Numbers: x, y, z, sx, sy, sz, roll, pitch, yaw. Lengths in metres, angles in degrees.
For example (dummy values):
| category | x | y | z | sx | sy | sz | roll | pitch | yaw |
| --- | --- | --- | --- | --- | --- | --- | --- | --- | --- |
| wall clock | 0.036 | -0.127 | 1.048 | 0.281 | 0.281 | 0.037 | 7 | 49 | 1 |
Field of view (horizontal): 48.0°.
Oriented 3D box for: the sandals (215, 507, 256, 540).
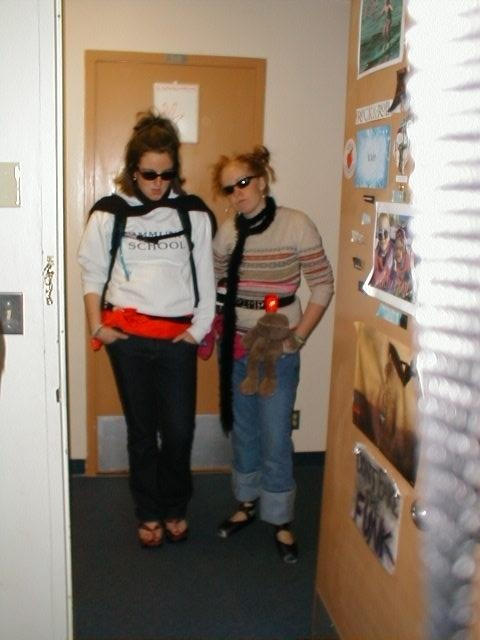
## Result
| category | x | y | z | sx | sy | sz | roll | pitch | yaw |
| --- | --- | --- | --- | --- | --- | --- | --- | --- | --- |
| sandals | -0.015 | 0.895 | 2.407 | 0.068 | 0.092 | 0.221 | 0 | 4 | 39 |

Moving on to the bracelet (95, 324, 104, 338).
| category | x | y | z | sx | sy | sz | roll | pitch | yaw |
| --- | --- | --- | --- | --- | --- | --- | --- | --- | --- |
| bracelet | -0.545 | 0.044 | 2.067 | 0.010 | 0.044 | 0.043 | 25 | -21 | -15 |

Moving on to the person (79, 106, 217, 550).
| category | x | y | z | sx | sy | sz | roll | pitch | yaw |
| --- | --- | --- | --- | --- | --- | --- | --- | --- | --- |
| person | -0.362 | 0.084 | 2.138 | 0.519 | 1.748 | 0.217 | -1 | 9 | -18 |

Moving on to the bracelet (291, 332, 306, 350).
| category | x | y | z | sx | sy | sz | roll | pitch | yaw |
| --- | --- | --- | --- | --- | --- | --- | --- | --- | --- |
| bracelet | 0.223 | 0.081 | 2.047 | 0.047 | 0.055 | 0.062 | 1 | -8 | -3 |

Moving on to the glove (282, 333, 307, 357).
| category | x | y | z | sx | sy | sz | roll | pitch | yaw |
| --- | --- | --- | --- | --- | --- | --- | --- | --- | --- |
| glove | 0.215 | 0.103 | 2.079 | 0.067 | 0.087 | 0.084 | 4 | -31 | 16 |

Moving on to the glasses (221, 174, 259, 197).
| category | x | y | z | sx | sy | sz | roll | pitch | yaw |
| --- | --- | --- | --- | --- | --- | --- | --- | --- | --- |
| glasses | -0.012 | -0.509 | 2.049 | 0.134 | 0.081 | 0.055 | 7 | 10 | 27 |

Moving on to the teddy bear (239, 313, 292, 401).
| category | x | y | z | sx | sy | sz | roll | pitch | yaw |
| --- | --- | --- | --- | --- | --- | --- | --- | --- | --- |
| teddy bear | 0.106 | 0.126 | 2.125 | 0.221 | 0.299 | 0.123 | 14 | 18 | 16 |
